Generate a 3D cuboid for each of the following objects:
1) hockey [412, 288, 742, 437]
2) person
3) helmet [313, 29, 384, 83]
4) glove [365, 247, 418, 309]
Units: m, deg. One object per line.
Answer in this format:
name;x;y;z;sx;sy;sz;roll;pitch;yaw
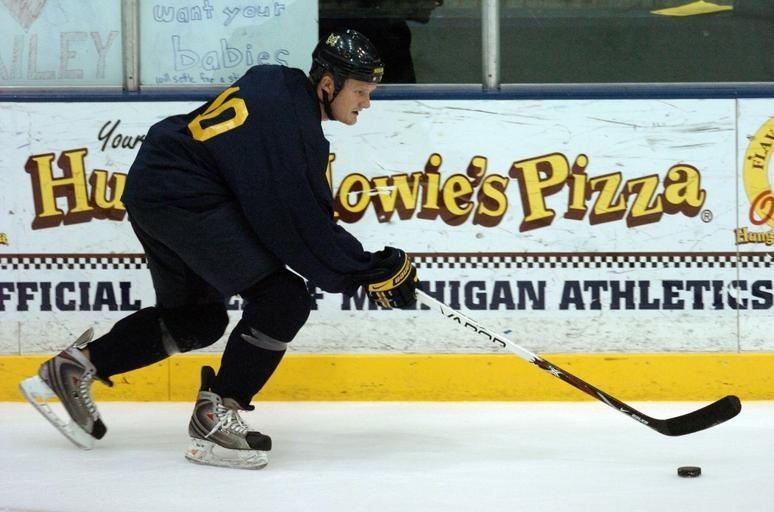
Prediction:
hockey;0.835;0.409;5.554;2.118;0.512;0.158;16;11;-27
person;-0.669;-0.053;5.531;1.615;1.886;0.483;4;12;0
helmet;-0.176;-0.870;5.530;0.351;0.234;0.222;0;19;-4
glove;-0.032;0.120;5.599;0.300;0.225;0.186;-4;36;12
